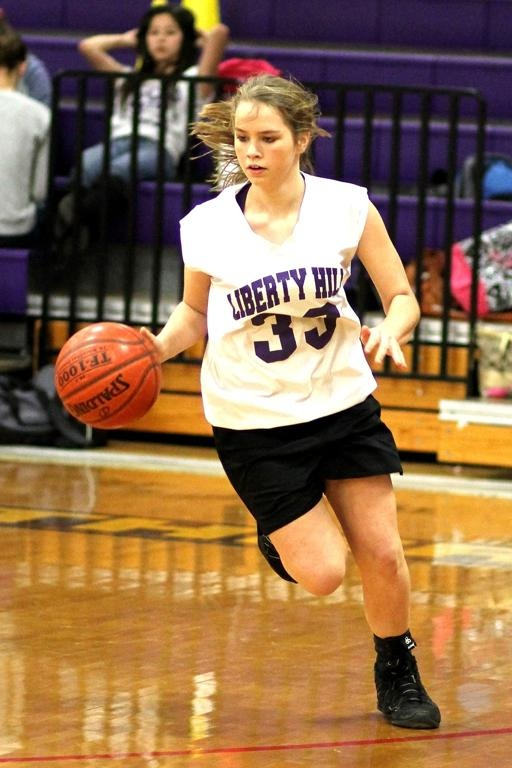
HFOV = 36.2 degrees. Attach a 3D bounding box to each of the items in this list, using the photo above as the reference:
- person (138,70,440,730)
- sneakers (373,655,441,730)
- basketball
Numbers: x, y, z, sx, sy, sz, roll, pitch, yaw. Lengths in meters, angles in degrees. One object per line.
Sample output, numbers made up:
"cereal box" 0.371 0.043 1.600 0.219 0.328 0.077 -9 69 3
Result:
"person" 0.065 0.011 1.259 0.507 0.836 0.370 3 -1 13
"sneakers" 0.206 0.485 1.224 0.052 0.093 0.149 -3 -10 -14
"basketball" -0.246 -0.014 1.393 0.181 0.174 0.176 12 -13 15
